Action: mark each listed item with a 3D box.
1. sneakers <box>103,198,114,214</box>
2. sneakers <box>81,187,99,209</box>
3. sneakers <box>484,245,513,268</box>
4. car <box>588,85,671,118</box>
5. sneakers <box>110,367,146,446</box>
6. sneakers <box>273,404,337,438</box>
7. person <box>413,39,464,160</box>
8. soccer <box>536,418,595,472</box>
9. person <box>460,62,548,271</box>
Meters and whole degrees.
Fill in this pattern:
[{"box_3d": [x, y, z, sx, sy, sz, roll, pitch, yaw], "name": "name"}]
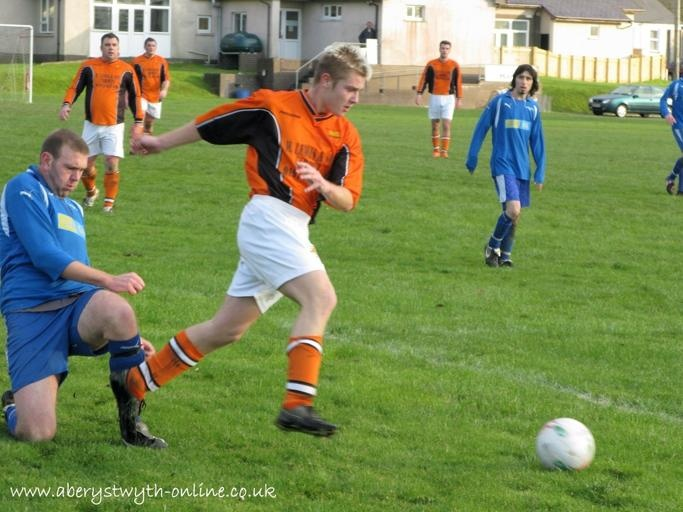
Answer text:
[{"box_3d": [-3.295, -0.726, 12.316, 0.125, 0.198, 0.201, 0, 1, -2], "name": "sneakers"}, {"box_3d": [-3.650, -0.932, 12.772, 0.177, 0.199, 0.481, 14, 30, -9], "name": "sneakers"}, {"box_3d": [1.976, 0.024, 11.064, 0.367, 0.198, 0.155, 7, -10, -10], "name": "sneakers"}, {"box_3d": [12.650, -6.907, 38.829, 3.514, 1.306, 1.607, -3, 6, -34], "name": "car"}, {"box_3d": [-1.444, 1.018, 5.856, 0.208, 0.498, 0.175, -1, 14, -13], "name": "sneakers"}, {"box_3d": [-0.224, 0.998, 5.364, 0.424, 0.204, 0.156, 9, -8, 3], "name": "sneakers"}, {"box_3d": [2.114, -3.439, 18.821, 0.901, 2.405, 1.485, 4, 14, 6], "name": "person"}, {"box_3d": [1.489, 1.266, 5.927, 0.348, 0.350, 0.340, 13, 8, -34], "name": "soccer"}, {"box_3d": [2.085, -1.168, 11.039, 0.974, 2.506, 0.756, 4, 14, 5], "name": "person"}]
